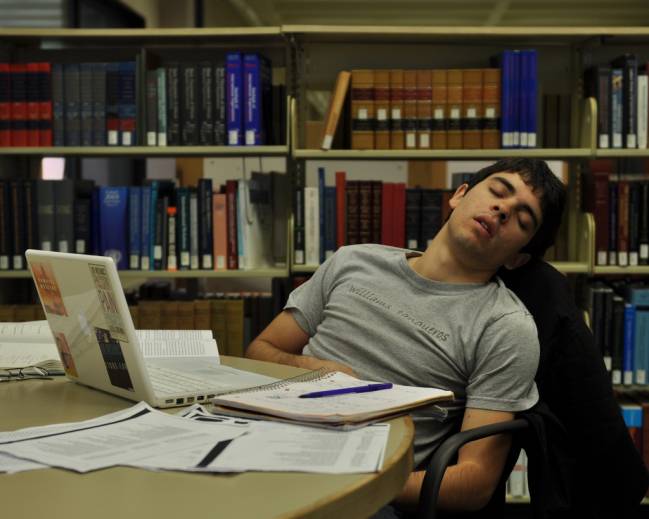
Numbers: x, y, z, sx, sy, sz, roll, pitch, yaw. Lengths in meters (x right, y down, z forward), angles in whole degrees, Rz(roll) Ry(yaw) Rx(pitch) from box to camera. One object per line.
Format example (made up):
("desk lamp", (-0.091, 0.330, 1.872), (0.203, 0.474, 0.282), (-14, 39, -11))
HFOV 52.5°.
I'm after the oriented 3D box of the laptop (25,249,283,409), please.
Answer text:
("laptop", (-0.361, 0.142, 1.387), (0.342, 0.269, 0.454), (-5, 7, -39))
